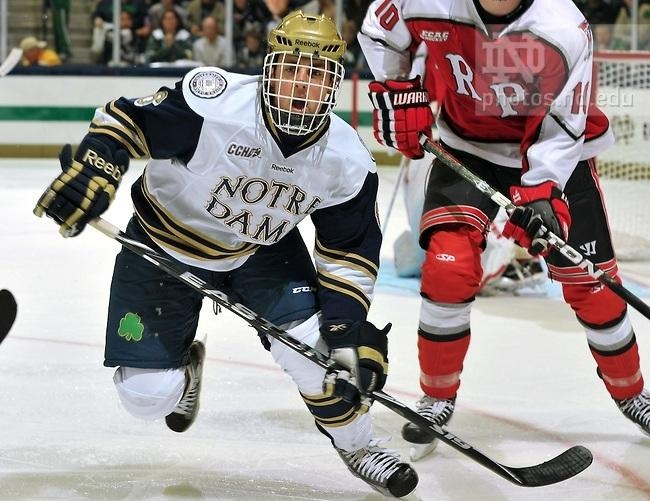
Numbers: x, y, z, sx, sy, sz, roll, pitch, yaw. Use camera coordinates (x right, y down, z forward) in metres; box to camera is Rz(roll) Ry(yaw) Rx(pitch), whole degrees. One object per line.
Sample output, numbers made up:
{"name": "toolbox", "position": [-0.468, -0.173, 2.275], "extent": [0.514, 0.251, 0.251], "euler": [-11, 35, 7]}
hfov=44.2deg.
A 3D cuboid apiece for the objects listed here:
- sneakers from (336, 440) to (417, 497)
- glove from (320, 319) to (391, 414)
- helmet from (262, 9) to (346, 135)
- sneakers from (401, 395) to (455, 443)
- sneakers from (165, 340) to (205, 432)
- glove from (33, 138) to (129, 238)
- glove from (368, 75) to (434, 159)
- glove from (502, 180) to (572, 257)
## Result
{"name": "sneakers", "position": [0.148, 0.655, 2.565], "extent": [0.138, 0.103, 0.314], "euler": [49, -11, -25]}
{"name": "glove", "position": [0.092, 0.342, 2.409], "extent": [0.254, 0.232, 0.106], "euler": [4, -13, -20]}
{"name": "helmet", "position": [-0.065, -0.517, 2.369], "extent": [0.232, 0.339, 0.195], "euler": [2, 16, -3]}
{"name": "sneakers", "position": [0.384, 0.586, 2.888], "extent": [0.097, 0.129, 0.290], "euler": [33, 22, 13]}
{"name": "sneakers", "position": [-0.468, 0.483, 2.798], "extent": [0.110, 0.329, 0.135], "euler": [8, 19, -3]}
{"name": "glove", "position": [-0.716, -0.194, 2.386], "extent": [0.223, 0.318, 0.103], "euler": [38, -16, -10]}
{"name": "glove", "position": [0.301, -0.503, 3.065], "extent": [0.210, 0.319, 0.255], "euler": [-7, 19, 4]}
{"name": "glove", "position": [0.697, -0.109, 2.621], "extent": [0.243, 0.223, 0.104], "euler": [23, 26, 12]}
